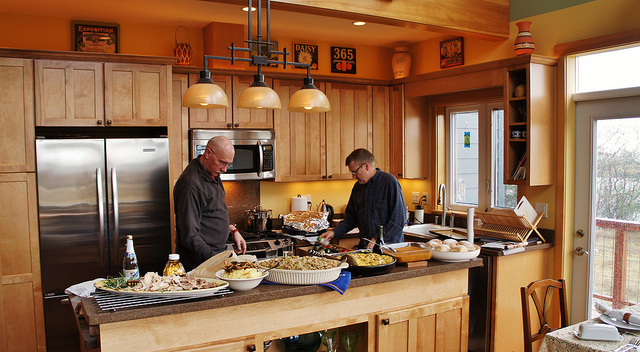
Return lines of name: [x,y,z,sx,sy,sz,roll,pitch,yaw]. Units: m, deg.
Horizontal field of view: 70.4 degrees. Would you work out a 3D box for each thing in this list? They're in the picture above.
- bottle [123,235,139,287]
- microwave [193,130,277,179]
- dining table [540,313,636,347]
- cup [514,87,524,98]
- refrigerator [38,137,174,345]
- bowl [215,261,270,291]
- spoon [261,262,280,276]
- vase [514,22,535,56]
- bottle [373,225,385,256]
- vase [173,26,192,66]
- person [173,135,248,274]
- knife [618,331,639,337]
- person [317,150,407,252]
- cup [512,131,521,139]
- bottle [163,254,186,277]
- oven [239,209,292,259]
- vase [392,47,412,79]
bottle: [-1.729,0.769,4.116,0.128,0.428,0.259,-4,5,-24]
microwave: [-1.185,-0.343,6.535,1.172,0.640,0.710,-1,1,-28]
dining table: [2.482,1.473,4.204,0.690,0.202,0.376,1,5,32]
cup: [2.532,-1.059,5.795,0.140,0.141,0.129,3,-6,0]
refrigerator: [-2.627,0.788,5.607,1.477,2.545,0.400,-2,5,-5]
bowl: [-0.700,0.903,4.099,0.342,0.148,0.314,0,-1,0]
spoon: [-0.448,0.868,4.231,0.210,0.021,0.059,-28,22,-3]
vase: [2.567,-1.731,5.696,0.210,0.433,0.180,0,5,23]
bottle: [0.605,0.667,4.730,0.105,0.276,0.299,-1,4,6]
vase: [-1.891,-1.791,6.207,0.233,0.625,0.460,-3,5,-15]
person: [-1.216,0.303,4.812,0.640,1.429,0.390,-3,5,-17]
knife: [2.858,1.468,4.189,0.151,0.010,0.015,13,54,36]
person: [0.552,0.240,5.373,0.810,1.094,0.554,1,5,28]
cup: [2.527,-0.527,5.824,0.100,0.098,0.055,1,5,26]
bottle: [-1.320,0.832,4.167,0.226,0.192,0.161,2,6,41]
oven: [-0.875,0.919,6.364,0.792,0.421,0.482,-2,15,-23]
vase: [1.309,-1.786,7.236,0.358,0.460,0.306,-2,2,12]
